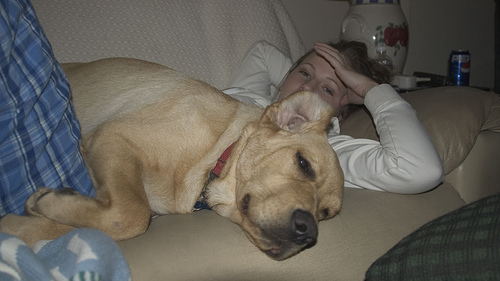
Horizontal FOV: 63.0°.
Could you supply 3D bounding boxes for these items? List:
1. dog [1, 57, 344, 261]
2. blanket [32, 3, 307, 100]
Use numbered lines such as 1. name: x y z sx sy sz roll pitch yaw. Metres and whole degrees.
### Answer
1. dog: -0.240 0.100 2.951 1.598 1.284 2.388 1 4 -36
2. blanket: -0.663 -0.673 3.111 2.537 0.918 0.803 0 2 -5
